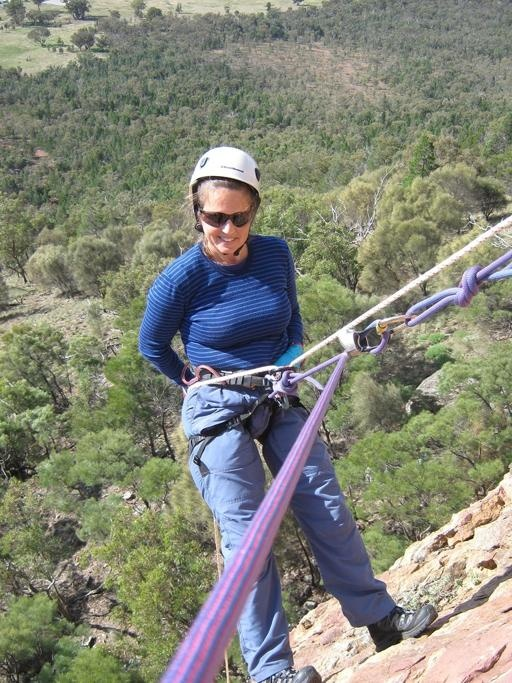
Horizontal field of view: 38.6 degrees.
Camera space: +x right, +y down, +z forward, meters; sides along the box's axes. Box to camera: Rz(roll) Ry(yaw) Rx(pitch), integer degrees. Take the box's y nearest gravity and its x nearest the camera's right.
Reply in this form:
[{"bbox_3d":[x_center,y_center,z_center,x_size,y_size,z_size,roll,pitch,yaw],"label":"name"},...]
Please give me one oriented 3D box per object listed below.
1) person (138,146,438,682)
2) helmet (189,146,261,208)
[{"bbox_3d":[0.074,0.566,4.065,0.973,3.237,1.480,-17,18,-3],"label":"person"},{"bbox_3d":[-0.164,-0.926,4.014,0.267,0.238,0.316,17,-26,-9],"label":"helmet"}]
